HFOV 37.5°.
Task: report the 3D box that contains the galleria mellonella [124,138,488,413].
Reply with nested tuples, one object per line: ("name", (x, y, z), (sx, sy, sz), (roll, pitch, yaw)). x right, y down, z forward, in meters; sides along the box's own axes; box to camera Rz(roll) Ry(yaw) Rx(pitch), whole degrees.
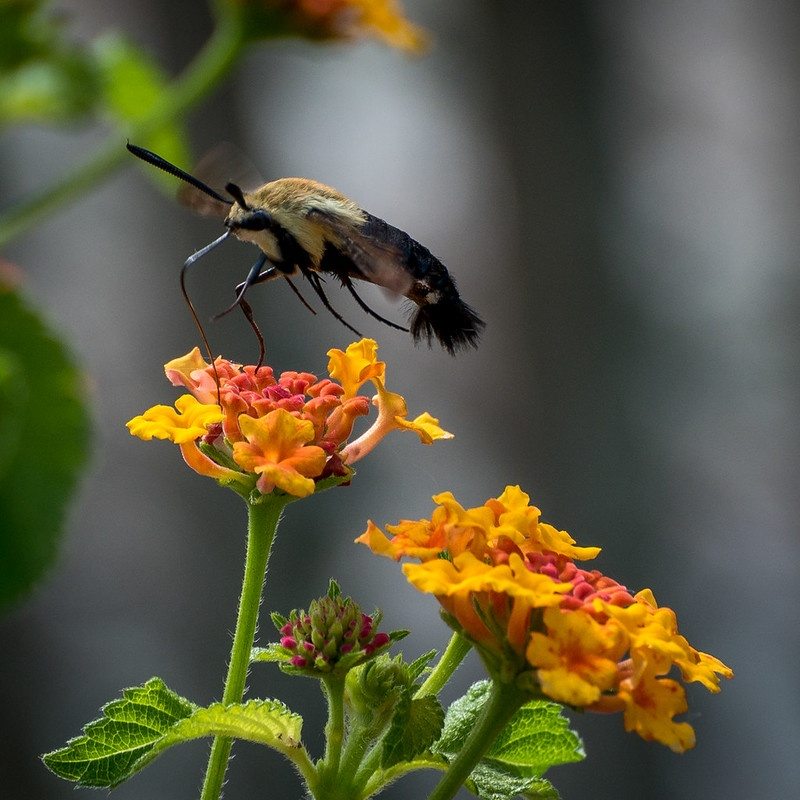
("galleria mellonella", (-0.060, -0.085, 1.033), (0.214, 0.138, 0.253), (2, 11, -8))

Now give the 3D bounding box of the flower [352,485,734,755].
("flower", (0.114, 0.163, 0.931), (0.300, 0.140, 0.168), (18, 13, 19))

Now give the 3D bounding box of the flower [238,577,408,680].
("flower", (-0.064, 0.200, 1.015), (0.124, 0.077, 0.116), (3, -11, -26))

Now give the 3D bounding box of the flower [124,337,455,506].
("flower", (-0.093, 0.019, 1.011), (0.250, 0.149, 0.184), (18, 13, 19))
